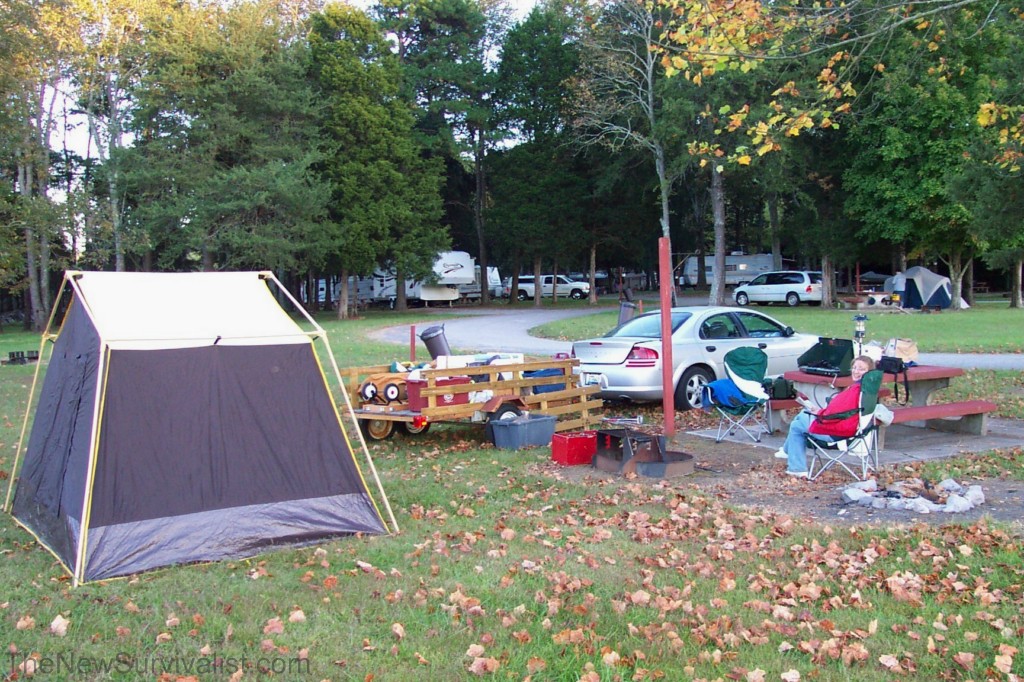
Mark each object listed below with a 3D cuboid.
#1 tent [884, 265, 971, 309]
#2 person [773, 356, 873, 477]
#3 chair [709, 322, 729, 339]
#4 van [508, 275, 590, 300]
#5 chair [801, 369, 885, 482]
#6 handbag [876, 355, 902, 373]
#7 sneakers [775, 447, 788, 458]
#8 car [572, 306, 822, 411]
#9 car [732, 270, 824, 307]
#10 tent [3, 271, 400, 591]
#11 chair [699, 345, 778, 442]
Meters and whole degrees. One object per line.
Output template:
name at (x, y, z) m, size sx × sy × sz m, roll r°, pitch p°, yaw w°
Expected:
tent at (17.328, -2.244, 39.829) m, size 1.885 × 0.966 × 2.544 m, roll -7°, pitch 9°, yaw -31°
person at (4.114, 0.973, 12.366) m, size 1.248 × 1.688 × 0.904 m, roll 12°, pitch 12°, yaw 31°
chair at (3.621, -0.176, 16.372) m, size 0.302 × 0.269 × 0.289 m, roll 10°, pitch 3°, yaw 42°
van at (2.379, -3.058, 57.377) m, size 4.608 × 1.471 × 1.969 m, roll 0°, pitch 6°, yaw 7°
chair at (4.312, 1.131, 12.305) m, size 1.159 × 1.537 × 1.229 m, roll -5°, pitch 1°, yaw 7°
handbag at (5.422, 0.350, 13.390) m, size 0.339 × 0.241 × 0.256 m, roll 1°, pitch -5°, yaw 45°
sneakers at (3.671, 1.557, 12.735) m, size 0.125 × 0.143 × 0.212 m, roll -6°, pitch 18°, yaw -15°
car at (3.358, 0.189, 16.361) m, size 4.363 × 1.323 × 1.844 m, roll -6°, pitch 5°, yaw -32°
car at (12.575, -2.510, 43.858) m, size 3.779 × 1.380 × 1.738 m, roll 6°, pitch 6°, yaw 39°
tent at (-4.102, 0.964, 11.689) m, size 3.672 × 3.032 × 3.903 m, roll -1°, pitch 6°, yaw -38°
chair at (3.344, 0.733, 13.712) m, size 0.988 × 1.329 × 0.941 m, roll 0°, pitch 8°, yaw 18°
